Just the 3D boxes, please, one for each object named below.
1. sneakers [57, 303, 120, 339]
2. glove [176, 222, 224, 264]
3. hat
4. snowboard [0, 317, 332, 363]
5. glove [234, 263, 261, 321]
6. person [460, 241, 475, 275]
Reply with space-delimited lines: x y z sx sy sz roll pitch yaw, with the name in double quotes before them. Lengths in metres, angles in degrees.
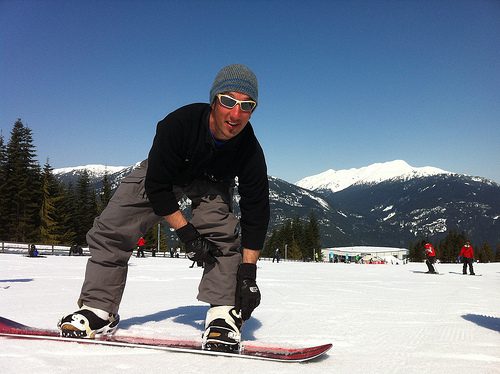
"sneakers" -1.544 1.301 3.704 0.458 0.240 0.291 12 -9 -22
"glove" -0.507 0.471 3.762 0.714 0.283 0.296 -1 17 38
"hat" -0.153 -0.933 3.695 0.540 0.501 0.610 4 11 1
"snowboard" -0.847 1.456 3.684 2.931 0.250 0.365 -1 -9 9
"glove" -0.030 1.015 3.761 0.169 0.501 0.290 13 23 -8
"person" 10.158 3.236 18.058 0.525 1.456 3.312 -2 -9 28
